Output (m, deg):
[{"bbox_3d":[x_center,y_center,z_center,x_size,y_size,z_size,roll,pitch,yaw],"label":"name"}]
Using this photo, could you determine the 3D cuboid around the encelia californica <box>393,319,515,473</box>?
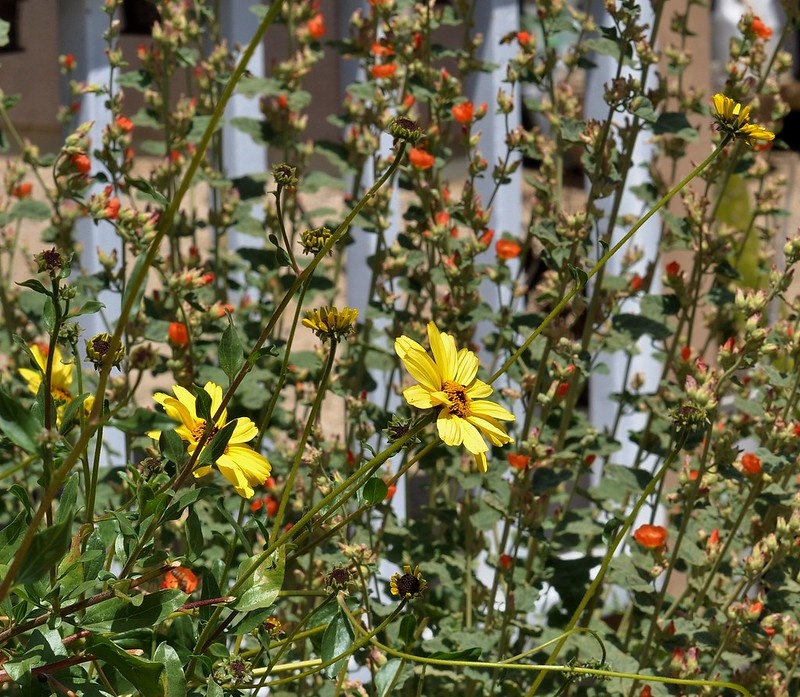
[{"bbox_3d":[0.112,0.085,3.300,0.251,0.185,0.249,23,11,19],"label":"encelia californica"}]

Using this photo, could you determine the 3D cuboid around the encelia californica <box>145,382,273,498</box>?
[{"bbox_3d":[-0.365,0.183,3.343,0.216,0.110,0.224,30,22,-33],"label":"encelia californica"}]

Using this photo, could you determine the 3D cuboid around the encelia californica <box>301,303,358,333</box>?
[{"bbox_3d":[-0.130,-0.060,3.255,0.061,0.032,0.066,-2,7,-23],"label":"encelia californica"}]
